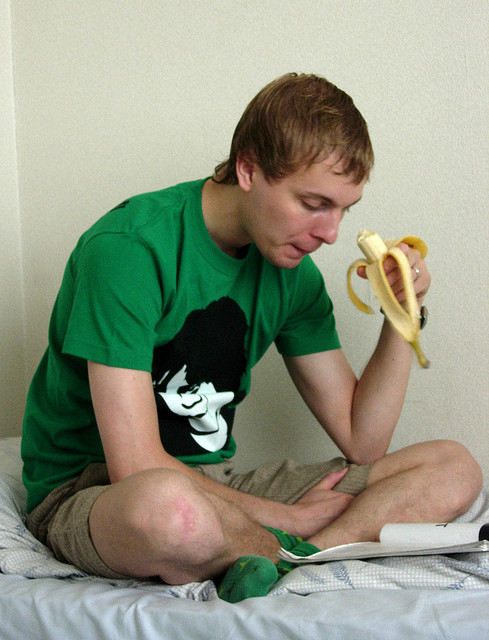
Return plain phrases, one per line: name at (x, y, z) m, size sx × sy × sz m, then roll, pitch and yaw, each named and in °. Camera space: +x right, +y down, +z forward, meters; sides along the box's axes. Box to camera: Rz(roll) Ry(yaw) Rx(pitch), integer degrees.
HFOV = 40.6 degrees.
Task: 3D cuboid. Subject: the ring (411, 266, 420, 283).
ring at (0.321, -0.083, 1.230) m, size 0.015 × 0.028 × 0.028 m, roll -8°, pitch 14°, yaw 19°
